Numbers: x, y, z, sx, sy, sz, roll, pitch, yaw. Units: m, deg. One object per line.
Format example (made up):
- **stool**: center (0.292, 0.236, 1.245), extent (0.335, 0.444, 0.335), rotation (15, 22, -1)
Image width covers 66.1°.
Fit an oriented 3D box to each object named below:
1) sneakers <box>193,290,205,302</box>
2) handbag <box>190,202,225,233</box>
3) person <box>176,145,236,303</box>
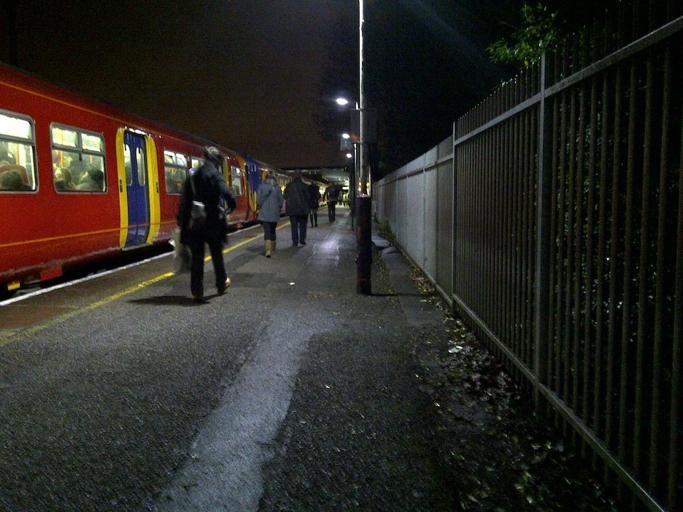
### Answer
- **sneakers**: center (-2.075, 0.577, 7.668), extent (0.152, 0.202, 0.146), rotation (4, 3, 36)
- **handbag**: center (-2.037, -0.610, 7.856), extent (0.635, 0.442, 0.420), rotation (-10, 14, -19)
- **person**: center (-1.984, -0.444, 7.732), extent (0.797, 2.251, 0.705), rotation (-7, 10, -38)
